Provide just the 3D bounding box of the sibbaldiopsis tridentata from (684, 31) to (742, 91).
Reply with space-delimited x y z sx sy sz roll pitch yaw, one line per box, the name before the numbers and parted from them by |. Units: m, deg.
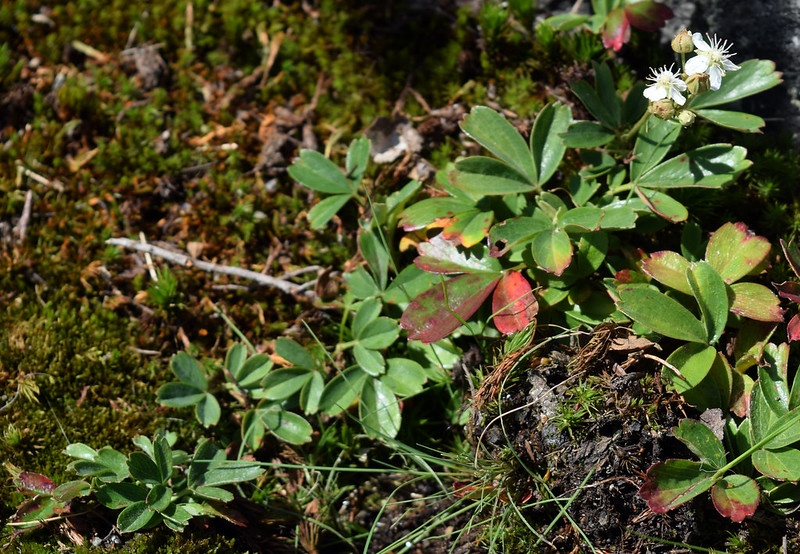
sibbaldiopsis tridentata | 1.468 -1.049 3.222 0.202 0.087 0.224 18 16 14
